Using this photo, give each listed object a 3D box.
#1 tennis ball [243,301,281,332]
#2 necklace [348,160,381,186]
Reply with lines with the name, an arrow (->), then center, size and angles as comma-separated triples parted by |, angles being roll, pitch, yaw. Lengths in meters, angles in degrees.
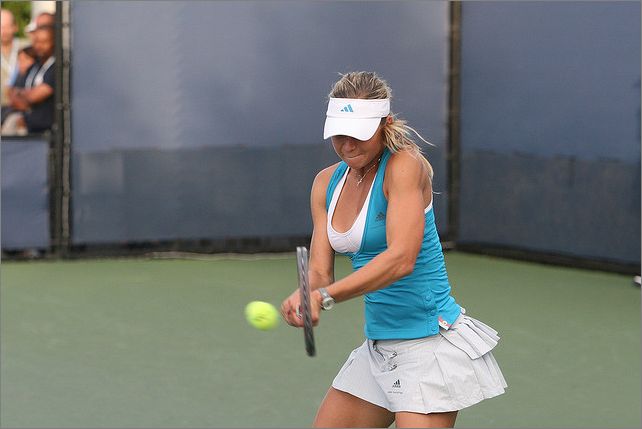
tennis ball -> -0.366, 0.640, 3.986 | 0.200, 0.178, 0.113 | 17, 8, 18
necklace -> 0.265, -0.234, 3.730 | 0.020, 0.236, 0.072 | 44, -4, -28
